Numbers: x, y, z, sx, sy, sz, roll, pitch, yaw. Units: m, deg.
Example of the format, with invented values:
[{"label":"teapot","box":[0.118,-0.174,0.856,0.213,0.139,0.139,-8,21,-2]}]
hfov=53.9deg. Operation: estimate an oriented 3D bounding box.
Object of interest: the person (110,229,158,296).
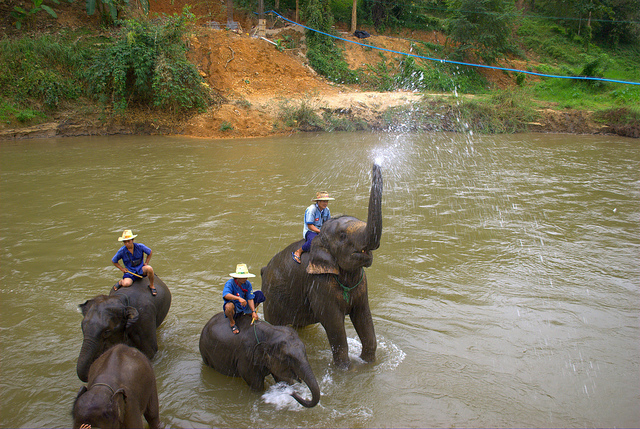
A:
[{"label":"person","box":[-4.629,1.185,15.517,1.212,1.532,0.912,-7,10,7]}]

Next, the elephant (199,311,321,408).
[{"label":"elephant","box":[-1.060,3.279,14.992,3.471,1.860,1.424,11,24,23]}]

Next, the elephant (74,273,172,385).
[{"label":"elephant","box":[-4.796,2.694,15.598,1.669,1.918,3.518,10,20,16]}]

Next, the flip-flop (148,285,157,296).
[{"label":"flip-flop","box":[-4.093,1.861,15.457,0.099,0.062,0.258,-18,60,-44]}]
